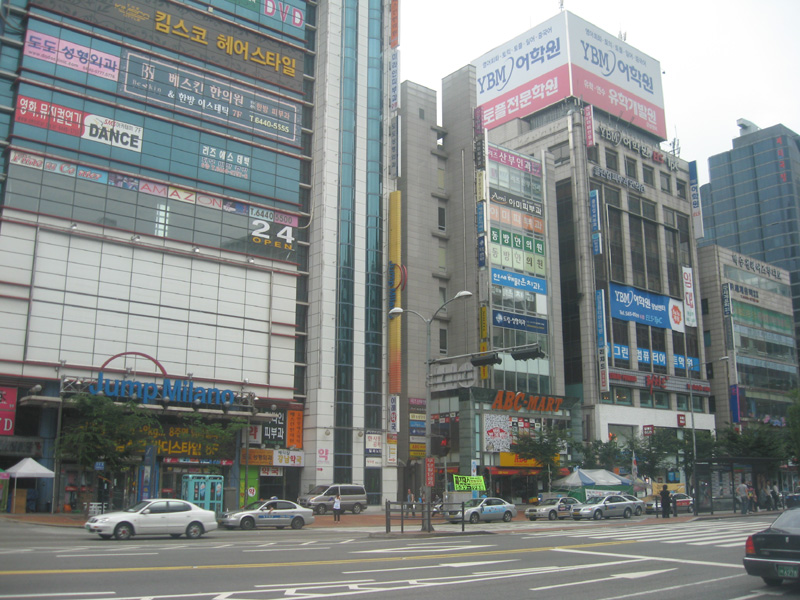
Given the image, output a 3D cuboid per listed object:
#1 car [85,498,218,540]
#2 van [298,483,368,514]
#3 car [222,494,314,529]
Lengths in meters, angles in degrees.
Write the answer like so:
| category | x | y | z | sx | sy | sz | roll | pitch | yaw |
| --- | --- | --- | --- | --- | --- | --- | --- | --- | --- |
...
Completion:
| category | x | y | z | sx | sy | sz | roll | pitch | yaw |
| --- | --- | --- | --- | --- | --- | --- | --- | --- | --- |
| car | -12.566 | 11.395 | 42.568 | 6.364 | 2.073 | 2.555 | 9 | -27 | -34 |
| van | -5.175 | 15.858 | 66.035 | 4.346 | 1.902 | 2.367 | 11 | -21 | -32 |
| car | -7.676 | 12.645 | 49.448 | 4.441 | 1.460 | 2.105 | 7 | -14 | -20 |
